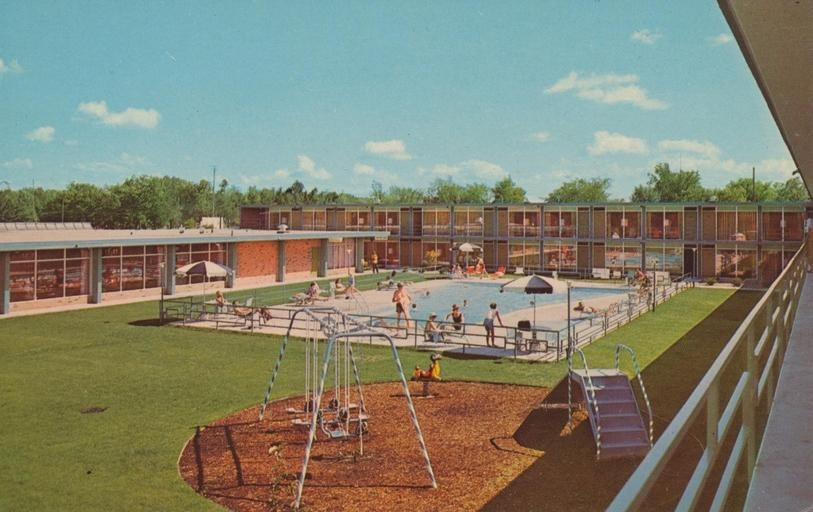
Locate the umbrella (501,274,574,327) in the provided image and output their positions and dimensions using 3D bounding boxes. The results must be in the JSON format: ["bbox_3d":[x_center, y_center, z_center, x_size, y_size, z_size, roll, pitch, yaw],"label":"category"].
[{"bbox_3d":[5.214,1.127,26.040,2.332,0.775,1.970,-5,10,-35],"label":"umbrella"}]

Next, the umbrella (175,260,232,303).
[{"bbox_3d":[-9.421,0.647,31.669,2.854,1.895,2.851,1,0,-7],"label":"umbrella"}]
